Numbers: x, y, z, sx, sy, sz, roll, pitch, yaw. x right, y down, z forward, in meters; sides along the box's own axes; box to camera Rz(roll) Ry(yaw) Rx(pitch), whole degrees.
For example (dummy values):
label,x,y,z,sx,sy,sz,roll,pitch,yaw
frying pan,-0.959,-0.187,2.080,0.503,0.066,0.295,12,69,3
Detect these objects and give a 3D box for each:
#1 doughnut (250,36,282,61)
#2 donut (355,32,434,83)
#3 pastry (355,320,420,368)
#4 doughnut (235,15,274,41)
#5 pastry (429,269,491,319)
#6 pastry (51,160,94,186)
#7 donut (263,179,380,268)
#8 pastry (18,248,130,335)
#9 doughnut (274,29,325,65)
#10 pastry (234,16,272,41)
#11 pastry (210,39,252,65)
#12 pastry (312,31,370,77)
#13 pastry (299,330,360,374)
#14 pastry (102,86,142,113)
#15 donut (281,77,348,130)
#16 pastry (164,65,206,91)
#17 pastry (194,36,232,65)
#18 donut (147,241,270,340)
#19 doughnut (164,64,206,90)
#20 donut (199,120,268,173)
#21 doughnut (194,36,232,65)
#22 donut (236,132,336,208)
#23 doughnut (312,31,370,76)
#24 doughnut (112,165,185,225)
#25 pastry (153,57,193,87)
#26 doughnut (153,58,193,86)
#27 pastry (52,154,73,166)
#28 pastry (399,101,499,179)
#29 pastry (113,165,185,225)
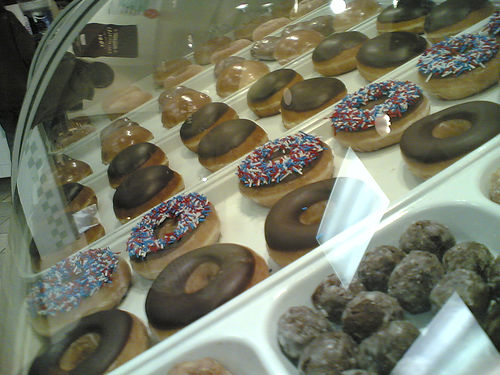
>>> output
label,x,y,z,sx,sy,sz,roll,pitch,yaw
doughnut,0.048,-0.427,1.282,0.069,0.024,0.067,-1,26,23
donut,0.419,-0.411,1.253,0.199,0.092,0.195,6,17,31
pastry,0.242,0.280,0.729,0.119,0.042,0.052,-25,38,-6
doughnut,0.006,-0.472,1.219,0.087,0.027,0.084,-26,18,9
pastry,0.374,0.190,0.740,0.102,0.048,0.075,-7,40,17
pastry,-0.448,-0.041,1.046,0.071,0.032,0.137,-19,-12,6
donut,0.140,0.049,0.879,0.267,0.136,0.188,-8,40,16
pastry,-0.366,0.186,0.881,0.221,0.062,0.215,13,21,21
doughnut,0.159,-0.428,1.322,0.109,0.067,0.123,-29,7,8
pastry,0.012,-0.477,1.235,0.027,0.064,0.140,22,55,42
pastry,-0.055,-0.421,1.277,0.149,0.045,0.142,0,-1,-17
pastry,0.281,-0.413,1.347,0.159,0.092,0.153,-22,24,9
pastry,0.143,0.299,0.748,0.096,0.035,0.075,1,42,25
pastry,-0.330,-0.223,1.120,0.084,0.028,0.083,-38,52,-17
donut,0.217,-0.316,1.304,0.201,0.105,0.191,3,32,11
pastry,-0.192,-0.319,1.179,0.138,0.033,0.069,-31,50,-25
pastry,-0.098,-0.380,1.174,0.081,0.026,0.080,-38,16,-19
donut,-0.097,0.194,0.857,0.265,0.063,0.141,-27,38,-9
doughnut,-0.183,-0.321,1.211,0.114,0.030,0.056,-34,28,-26
donut,-0.055,-0.090,1.242,0.171,0.090,0.166,-14,25,30
doughnut,-0.098,-0.378,1.173,0.081,0.026,0.080,-38,14,-19
donut,0.082,-0.060,1.147,0.216,0.079,0.212,-7,41,27
doughnut,0.285,-0.403,1.352,0.158,0.090,0.151,-21,24,6
doughnut,-0.298,-0.011,1.162,0.194,0.096,0.193,-40,-1,-12
pastry,-0.217,-0.346,1.208,0.092,0.036,0.147,-21,5,19
doughnut,-0.209,-0.318,1.157,0.101,0.023,0.054,-27,39,-19
pastry,-0.458,-0.070,1.008,0.029,0.009,0.027,-15,29,-28
pastry,0.414,-0.106,0.857,0.192,0.077,0.144,-13,38,11
pastry,-0.280,0.020,1.129,0.192,0.178,0.082,7,24,6
